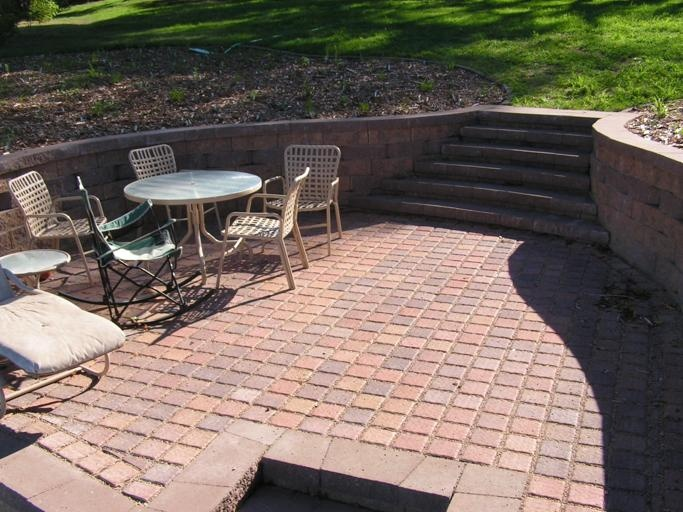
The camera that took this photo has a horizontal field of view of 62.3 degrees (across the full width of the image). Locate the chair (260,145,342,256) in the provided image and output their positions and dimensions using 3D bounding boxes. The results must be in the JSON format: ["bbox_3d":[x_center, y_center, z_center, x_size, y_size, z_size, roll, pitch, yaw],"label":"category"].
[{"bbox_3d":[-0.460,-0.770,7.236,1.124,1.053,0.873,16,31,23],"label":"chair"}]

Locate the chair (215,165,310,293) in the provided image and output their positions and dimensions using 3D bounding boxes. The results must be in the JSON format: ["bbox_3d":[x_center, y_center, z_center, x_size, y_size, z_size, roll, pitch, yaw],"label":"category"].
[{"bbox_3d":[-0.840,-0.332,6.104,1.164,0.893,0.920,-5,22,-16],"label":"chair"}]
